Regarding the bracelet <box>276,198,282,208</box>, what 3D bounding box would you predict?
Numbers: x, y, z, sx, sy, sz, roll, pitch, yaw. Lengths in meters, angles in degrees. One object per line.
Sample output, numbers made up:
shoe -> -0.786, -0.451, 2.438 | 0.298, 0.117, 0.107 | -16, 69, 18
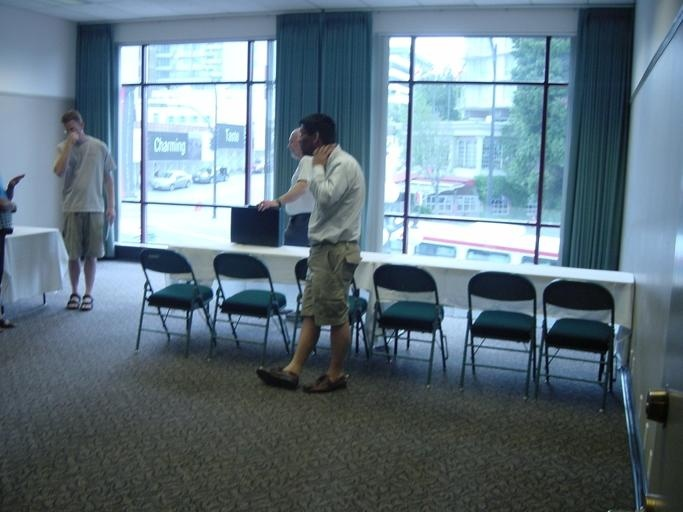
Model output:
bracelet -> -0.532, -0.441, 4.807 | 0.043, 0.052, 0.059 | 1, 3, -3

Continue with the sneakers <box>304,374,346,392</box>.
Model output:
sneakers -> -0.137, 0.971, 4.465 | 0.317, 0.138, 0.135 | 1, -2, -19

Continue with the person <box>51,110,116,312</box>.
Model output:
person -> -2.949, -0.513, 6.551 | 0.605, 2.224, 0.442 | -1, 6, -26

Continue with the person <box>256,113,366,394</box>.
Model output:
person -> -0.167, -0.008, 4.365 | 0.627, 2.124, 0.406 | 2, 6, 2

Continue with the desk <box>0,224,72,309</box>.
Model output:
desk -> -3.364, 0.098, 6.214 | 0.810, 0.721, 0.718 | 4, 7, 17
